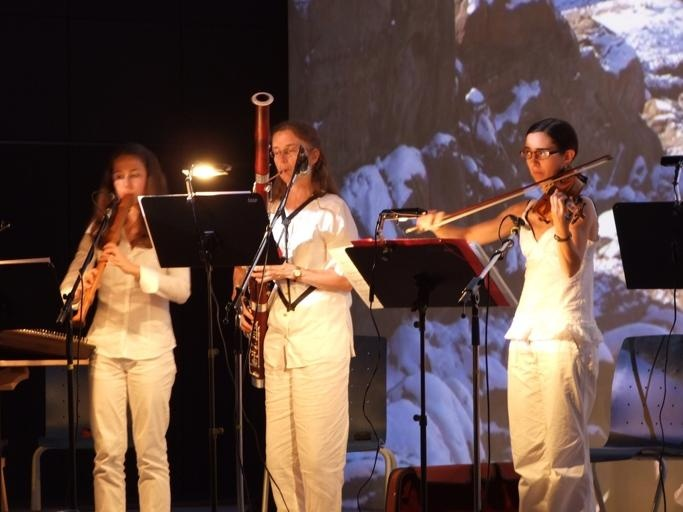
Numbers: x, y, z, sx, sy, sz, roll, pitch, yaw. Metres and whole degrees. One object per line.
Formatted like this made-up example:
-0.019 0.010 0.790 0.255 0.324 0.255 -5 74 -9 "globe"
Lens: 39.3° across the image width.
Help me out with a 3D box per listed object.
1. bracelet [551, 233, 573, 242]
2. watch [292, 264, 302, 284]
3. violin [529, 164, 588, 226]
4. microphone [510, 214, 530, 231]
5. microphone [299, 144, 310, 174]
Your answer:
1.251 -0.099 5.338 0.092 0.045 0.060 -3 -6 12 "bracelet"
-0.262 0.092 5.618 0.049 0.080 0.070 3 -15 -12 "watch"
1.268 -0.361 5.454 0.357 0.110 0.215 -37 -22 -35 "violin"
1.028 -0.181 5.439 0.071 0.101 0.295 -4 -7 19 "microphone"
-0.218 -0.550 5.469 0.025 0.140 0.087 7 4 38 "microphone"
